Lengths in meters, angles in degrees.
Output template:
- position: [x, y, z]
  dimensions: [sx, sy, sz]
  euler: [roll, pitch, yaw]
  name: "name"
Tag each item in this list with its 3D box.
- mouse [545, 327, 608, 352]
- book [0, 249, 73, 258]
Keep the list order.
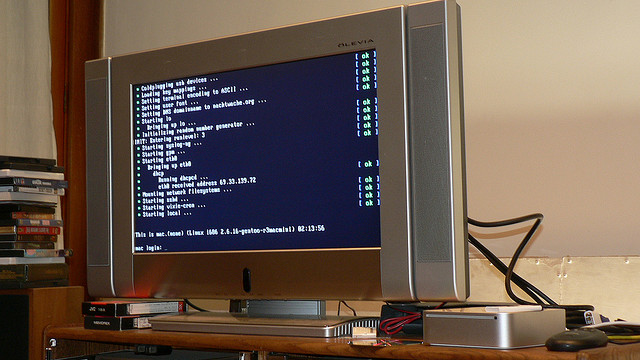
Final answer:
- position: [0.842, 0.518, 2.015]
  dimensions: [0.201, 0.066, 0.087]
  euler: [3, -10, -26]
  name: "mouse"
- position: [-1.254, 0.328, 2.773]
  dimensions: [0.288, 0.037, 0.089]
  euler: [7, -11, -43]
  name: "book"
